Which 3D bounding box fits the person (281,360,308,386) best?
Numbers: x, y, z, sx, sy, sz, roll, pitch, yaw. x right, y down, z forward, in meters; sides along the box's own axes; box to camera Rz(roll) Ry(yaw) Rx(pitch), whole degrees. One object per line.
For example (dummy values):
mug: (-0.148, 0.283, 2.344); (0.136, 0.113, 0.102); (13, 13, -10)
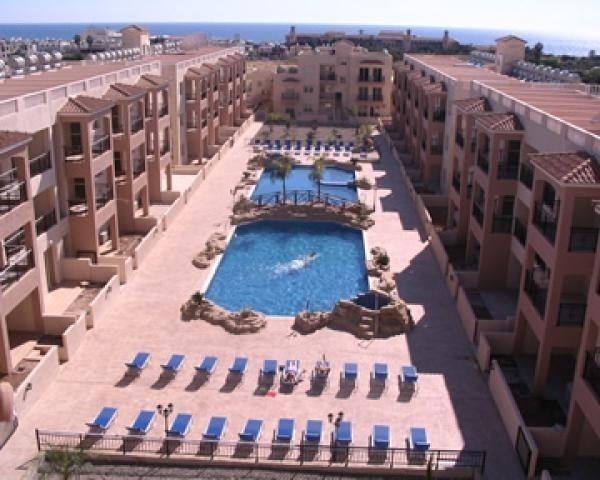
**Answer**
person: (-0.362, 7.010, 31.705); (0.843, 0.472, 1.261); (-1, 21, -1)
